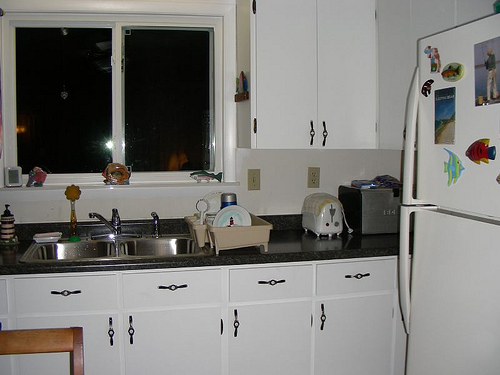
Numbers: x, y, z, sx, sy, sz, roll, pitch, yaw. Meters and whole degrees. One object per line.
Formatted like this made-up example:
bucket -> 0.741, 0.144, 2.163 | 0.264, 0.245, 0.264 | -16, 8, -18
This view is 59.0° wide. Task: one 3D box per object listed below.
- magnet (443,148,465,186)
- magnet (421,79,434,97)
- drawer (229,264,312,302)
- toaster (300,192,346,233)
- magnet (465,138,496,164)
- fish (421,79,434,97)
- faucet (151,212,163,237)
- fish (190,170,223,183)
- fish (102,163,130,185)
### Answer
magnet -> 0.941, -0.092, 2.048 | 0.098, 0.179, 0.023 | 1, -11, 24
magnet -> 0.857, -0.489, 2.138 | 0.017, 0.069, 0.040 | 0, 33, -35
drawer -> 0.102, 0.561, 2.762 | 0.549, 0.229, 0.454 | -2, 0, -6
toaster -> 0.487, 0.179, 3.002 | 0.221, 0.275, 0.348 | 1, 4, -29
magnet -> 1.007, -0.160, 1.925 | 0.013, 0.083, 0.102 | -5, 7, -22
fish -> 0.855, -0.491, 2.138 | 0.017, 0.070, 0.039 | -10, 31, -45
faucet -> -0.626, 0.247, 2.964 | 0.066, 0.167, 0.154 | -3, 4, -13
fish -> -0.316, -0.076, 3.138 | 0.250, 0.128, 0.048 | 2, -12, 0
fish -> -0.902, -0.097, 2.976 | 0.107, 0.090, 0.156 | 9, -11, -7
